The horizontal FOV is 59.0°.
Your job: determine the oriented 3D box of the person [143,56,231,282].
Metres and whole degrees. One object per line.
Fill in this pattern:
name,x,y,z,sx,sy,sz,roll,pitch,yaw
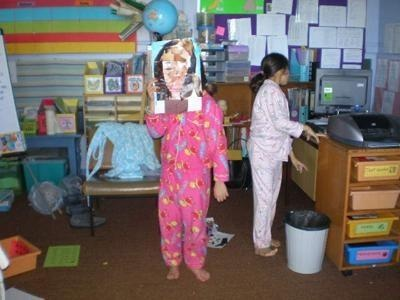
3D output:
person,-0.059,0.271,2.626,0.521,1.383,0.261,-5,16,-8

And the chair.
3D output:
chair,-0.805,0.296,3.844,0.835,1.050,1.031,-1,20,-9

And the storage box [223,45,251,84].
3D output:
storage box,0.433,-1.219,4.994,0.457,0.469,0.470,-4,23,-6

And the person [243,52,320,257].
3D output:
person,0.685,0.055,3.151,0.501,1.767,0.382,-4,16,-6

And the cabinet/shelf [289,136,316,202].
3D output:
cabinet/shelf,1.135,0.201,3.915,0.239,0.624,0.678,-2,14,-6

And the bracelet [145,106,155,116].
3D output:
bracelet,-0.345,-0.270,2.463,0.047,0.031,0.059,11,-23,2
